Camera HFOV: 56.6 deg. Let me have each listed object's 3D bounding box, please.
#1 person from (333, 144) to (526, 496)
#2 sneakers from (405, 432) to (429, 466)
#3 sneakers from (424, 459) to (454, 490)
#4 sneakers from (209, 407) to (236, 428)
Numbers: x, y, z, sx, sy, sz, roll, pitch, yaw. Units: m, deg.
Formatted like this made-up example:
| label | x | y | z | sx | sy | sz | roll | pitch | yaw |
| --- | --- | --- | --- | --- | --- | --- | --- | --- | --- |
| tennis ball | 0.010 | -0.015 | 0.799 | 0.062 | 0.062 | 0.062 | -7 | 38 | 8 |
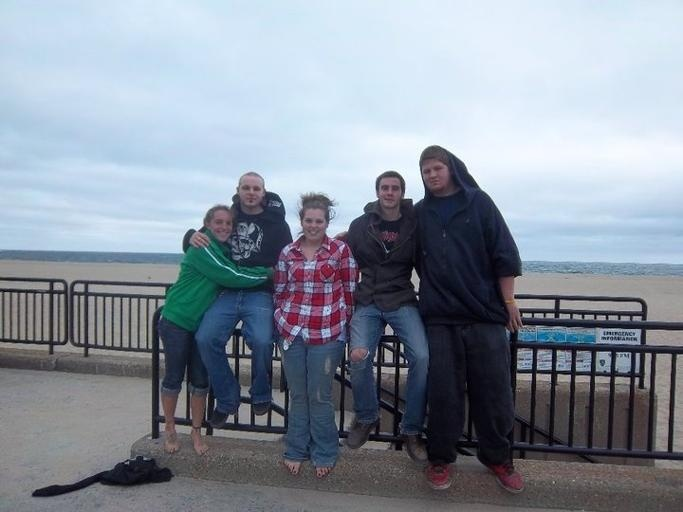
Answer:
| label | x | y | z | sx | sy | sz | roll | pitch | yaw |
| --- | --- | --- | --- | --- | --- | --- | --- | --- | --- |
| person | 1.232 | 0.558 | 6.210 | 1.018 | 3.287 | 0.608 | 2 | 3 | 6 |
| sneakers | 0.723 | 1.876 | 6.189 | 0.236 | 0.324 | 0.235 | 2 | 3 | 7 |
| sneakers | 0.972 | 2.127 | 6.146 | 0.278 | 0.298 | 0.227 | 1 | 3 | -5 |
| sneakers | -1.253 | 1.644 | 6.479 | 0.111 | 0.123 | 0.310 | 21 | 15 | -9 |
